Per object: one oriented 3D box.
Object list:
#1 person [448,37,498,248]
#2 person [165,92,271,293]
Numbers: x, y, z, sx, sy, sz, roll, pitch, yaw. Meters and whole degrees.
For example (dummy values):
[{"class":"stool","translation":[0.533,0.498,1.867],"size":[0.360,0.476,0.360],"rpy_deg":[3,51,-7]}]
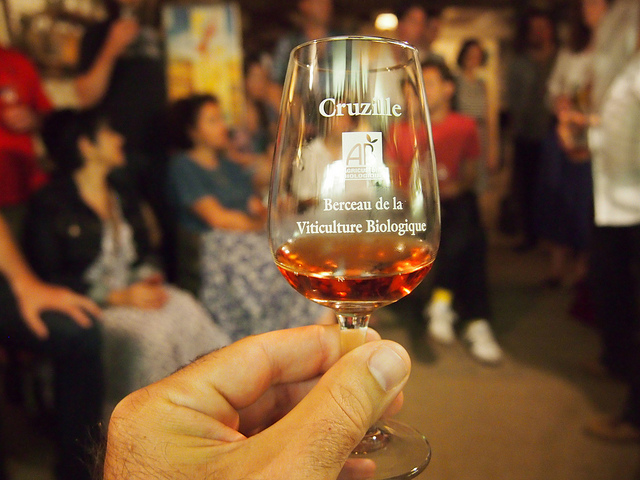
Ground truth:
[{"class":"person","translation":[0.856,-0.527,3.536],"size":[0.265,1.140,0.166],"rpy_deg":[3,13,18]},{"class":"person","translation":[-0.507,-0.230,3.076],"size":[0.487,0.964,0.300],"rpy_deg":[-6,13,-16]}]
